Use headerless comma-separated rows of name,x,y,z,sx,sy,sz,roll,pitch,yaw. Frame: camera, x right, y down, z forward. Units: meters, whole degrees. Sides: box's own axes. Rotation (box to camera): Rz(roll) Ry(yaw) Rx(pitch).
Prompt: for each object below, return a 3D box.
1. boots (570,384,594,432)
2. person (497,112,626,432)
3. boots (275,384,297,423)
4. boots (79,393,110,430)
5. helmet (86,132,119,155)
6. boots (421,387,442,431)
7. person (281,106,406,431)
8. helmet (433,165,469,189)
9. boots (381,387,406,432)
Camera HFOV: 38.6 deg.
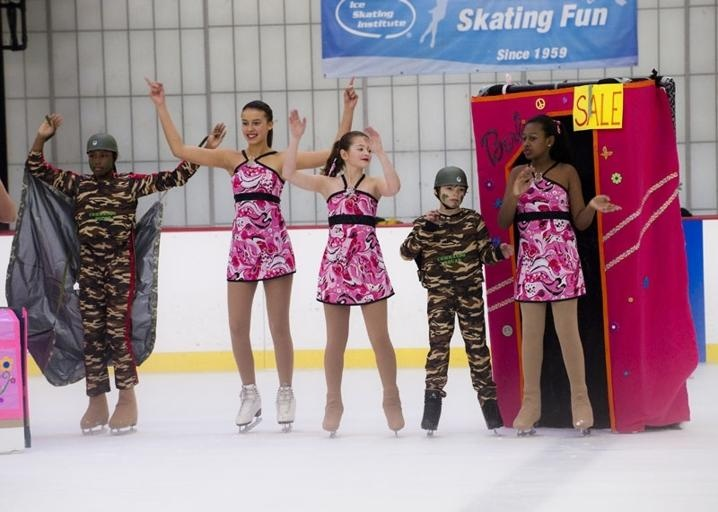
boots,1.651,1.109,7.528,0.159,0.383,0.274,0,5,12
person,1.445,0.138,7.501,0.605,2.318,0.383,0,5,12
boots,-0.563,1.128,7.880,0.126,0.295,0.168,-1,0,1
boots,-2.082,1.203,7.979,0.103,0.299,0.292,-3,1,26
helmet,-2.058,-0.893,8.060,0.185,0.130,0.183,8,11,34
boots,0.544,1.154,7.636,0.156,0.346,0.196,-1,5,3
person,-0.095,0.124,7.669,0.819,2.432,0.472,-1,5,0
helmet,0.689,-0.578,7.634,0.177,0.118,0.175,-2,5,-44
boots,0.247,1.129,7.598,0.119,0.375,0.239,-6,-24,0
